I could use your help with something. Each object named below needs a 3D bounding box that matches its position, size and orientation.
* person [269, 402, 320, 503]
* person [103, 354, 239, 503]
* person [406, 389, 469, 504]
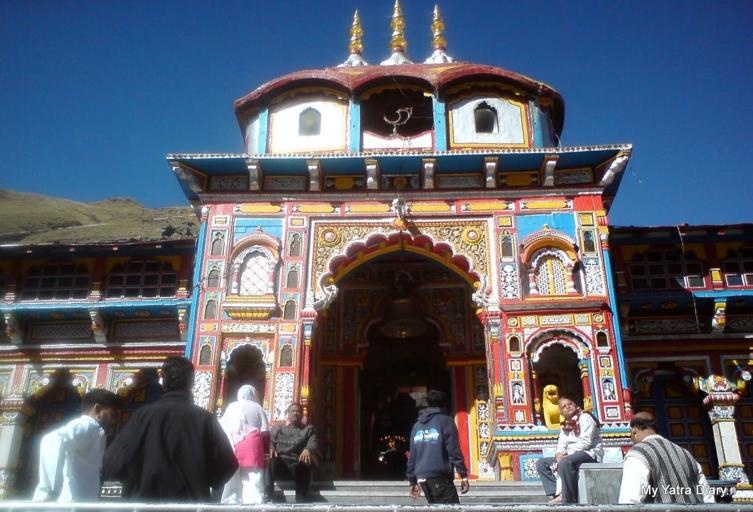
[{"bbox_3d":[-1.384,3.324,9.837,0.802,1.579,1.152,2,-17,-8],"label":"person"},{"bbox_3d":[-1.661,1.402,4.747,1.036,1.155,0.300,3,-17,-12],"label":"person"},{"bbox_3d":[0.698,2.327,7.073,0.818,1.335,0.630,-12,-20,32],"label":"person"}]
